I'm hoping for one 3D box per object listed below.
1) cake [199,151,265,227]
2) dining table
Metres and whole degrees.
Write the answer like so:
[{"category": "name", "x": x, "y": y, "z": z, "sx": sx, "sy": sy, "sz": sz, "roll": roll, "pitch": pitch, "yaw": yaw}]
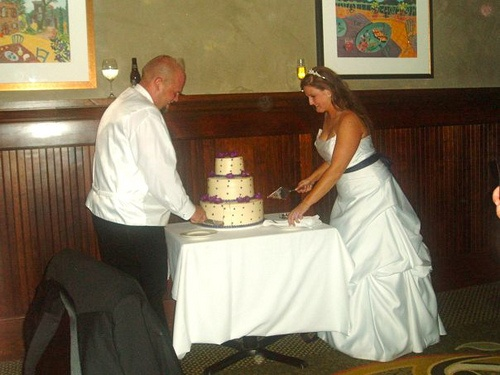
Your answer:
[{"category": "cake", "x": -0.144, "y": 0.029, "z": 3.558, "sx": 0.455, "sy": 0.522, "sz": 0.484, "roll": -7, "pitch": 5, "yaw": -37}, {"category": "dining table", "x": 0.047, "y": 0.727, "z": 3.698, "sx": 1.345, "sy": 0.755, "sz": 1.122, "roll": -4, "pitch": -1, "yaw": -10}]
